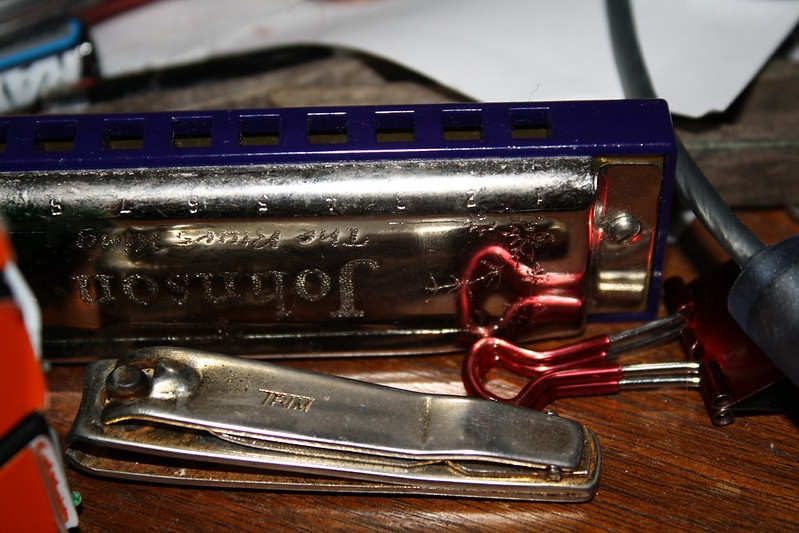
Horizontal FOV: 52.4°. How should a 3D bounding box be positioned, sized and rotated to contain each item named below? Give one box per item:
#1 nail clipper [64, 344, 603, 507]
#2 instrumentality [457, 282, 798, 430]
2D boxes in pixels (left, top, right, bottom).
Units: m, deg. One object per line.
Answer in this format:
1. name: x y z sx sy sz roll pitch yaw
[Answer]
1. nail clipper: -0.128 0.133 0.730 0.589 0.100 0.145 4 67 6
2. instrumentality: 0.201 0.086 0.712 0.236 0.040 0.123 -8 43 0
